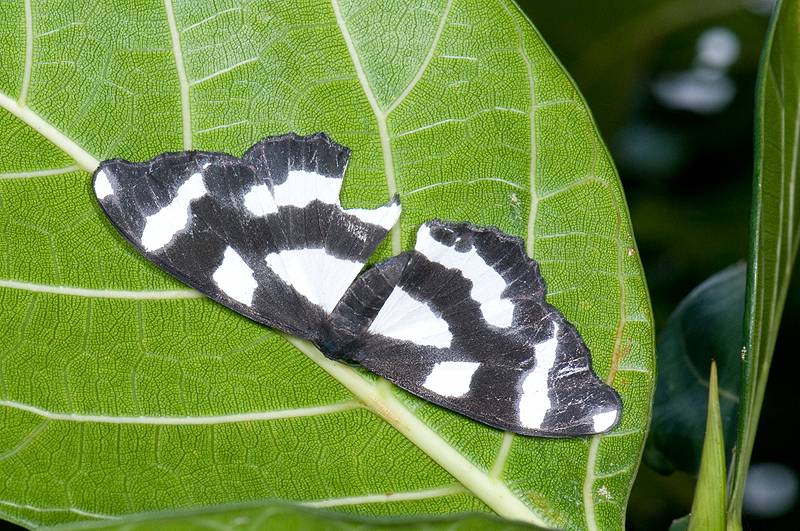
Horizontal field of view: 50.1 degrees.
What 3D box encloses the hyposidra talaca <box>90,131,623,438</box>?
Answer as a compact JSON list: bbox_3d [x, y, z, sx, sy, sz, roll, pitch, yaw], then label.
[{"bbox_3d":[-0.085,0.006,2.499,1.631,0.171,0.561,25,77,3],"label":"hyposidra talaca"}]
